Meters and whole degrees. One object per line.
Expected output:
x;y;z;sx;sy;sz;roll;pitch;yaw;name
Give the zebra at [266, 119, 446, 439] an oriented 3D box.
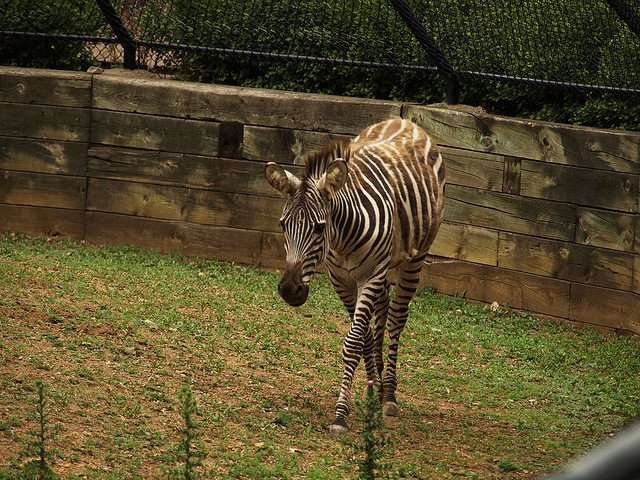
0.358;0.295;11.986;1.240;2.950;2.140;13;8;28;zebra
